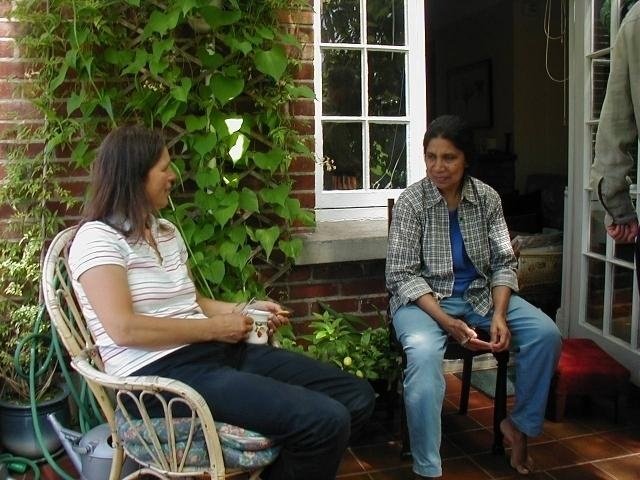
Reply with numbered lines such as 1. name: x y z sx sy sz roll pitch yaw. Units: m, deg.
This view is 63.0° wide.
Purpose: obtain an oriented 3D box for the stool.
1. stool: 1.313 0.713 2.771 0.512 0.255 0.365 4 13 -21

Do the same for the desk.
1. desk: 1.463 0.162 3.657 0.439 0.403 0.587 -1 -5 -8

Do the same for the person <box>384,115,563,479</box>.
1. person: 0.625 0.237 2.311 0.763 1.528 0.611 -6 13 -22

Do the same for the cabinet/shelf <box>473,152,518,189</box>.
1. cabinet/shelf: 2.134 -0.817 6.314 0.446 0.429 0.350 4 16 13

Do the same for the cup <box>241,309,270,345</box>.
1. cup: -0.254 0.320 1.947 0.124 0.126 0.105 14 -10 -43
